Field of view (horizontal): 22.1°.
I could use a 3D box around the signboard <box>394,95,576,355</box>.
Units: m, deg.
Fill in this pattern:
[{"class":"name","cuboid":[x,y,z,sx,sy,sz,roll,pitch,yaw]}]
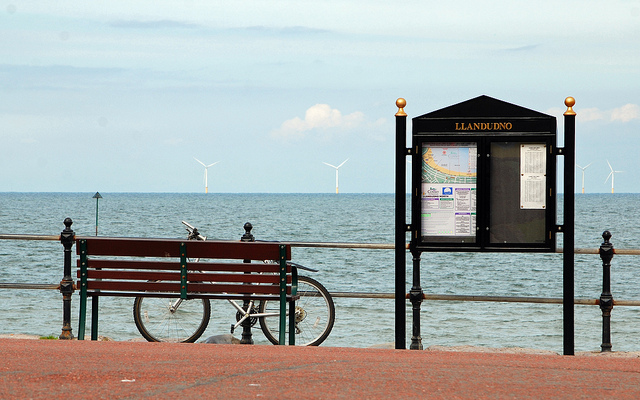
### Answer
[{"class":"signboard","cuboid":[5.709,0.944,56.860,6.165,8.981,0.481,0,-2,1]}]
